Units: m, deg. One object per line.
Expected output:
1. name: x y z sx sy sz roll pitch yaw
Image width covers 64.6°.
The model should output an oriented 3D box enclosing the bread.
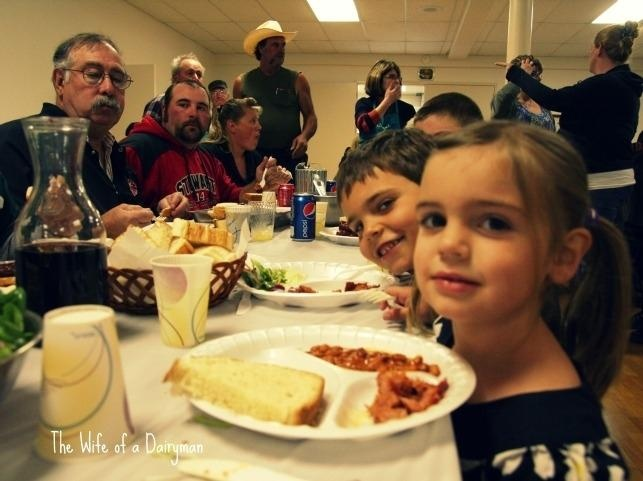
1. bread: -0.133 0.239 0.862 0.229 0.059 0.126 14 -1 1

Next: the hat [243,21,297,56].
1. hat: -0.573 -2.084 5.179 0.333 0.310 0.587 -8 14 -36

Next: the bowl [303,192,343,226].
1. bowl: 0.028 -0.178 2.912 0.169 0.184 0.176 -1 10 0

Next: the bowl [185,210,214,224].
1. bowl: -0.588 -0.111 2.458 0.119 0.046 0.099 -1 15 1
